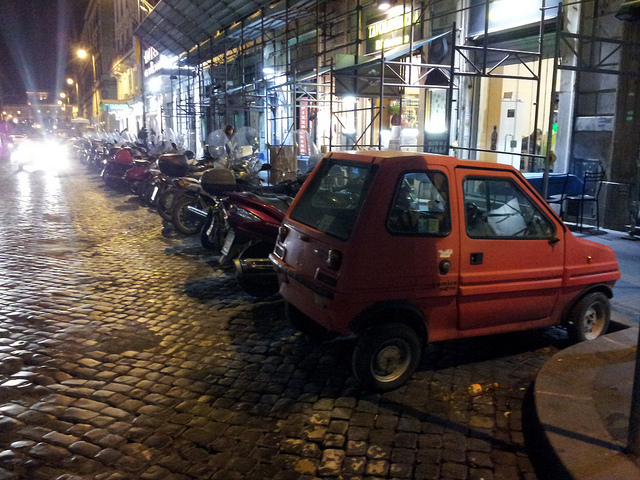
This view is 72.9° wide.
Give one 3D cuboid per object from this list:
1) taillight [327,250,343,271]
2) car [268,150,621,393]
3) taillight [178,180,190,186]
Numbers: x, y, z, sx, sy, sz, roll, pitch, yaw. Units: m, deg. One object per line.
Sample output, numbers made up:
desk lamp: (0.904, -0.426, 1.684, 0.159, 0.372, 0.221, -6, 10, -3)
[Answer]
taillight: (0.131, 0.170, 3.640, 0.069, 0.167, 0.150, -11, 19, -38)
car: (1.417, 0.201, 4.894, 3.770, 1.682, 1.750, -1, 5, -27)
taillight: (-2.939, -1.218, 9.395, 0.223, 0.067, 0.149, 0, 8, -32)
